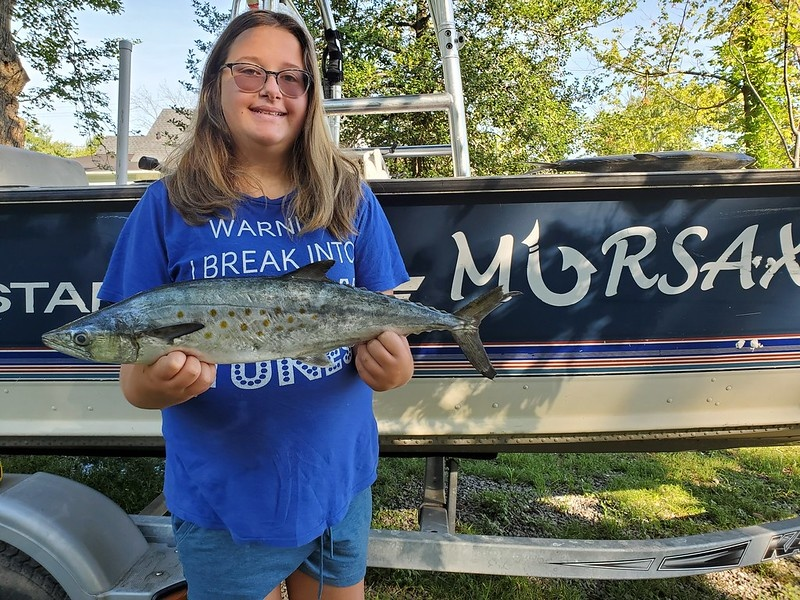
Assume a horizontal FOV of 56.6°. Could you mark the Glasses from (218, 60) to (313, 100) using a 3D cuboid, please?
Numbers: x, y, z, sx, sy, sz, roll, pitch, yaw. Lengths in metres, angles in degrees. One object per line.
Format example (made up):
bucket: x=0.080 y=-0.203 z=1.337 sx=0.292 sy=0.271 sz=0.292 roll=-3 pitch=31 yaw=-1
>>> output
Glasses: x=-0.714 y=-1.222 z=4.138 sx=0.312 sy=0.080 sz=0.283 roll=-1 pitch=5 yaw=-20
